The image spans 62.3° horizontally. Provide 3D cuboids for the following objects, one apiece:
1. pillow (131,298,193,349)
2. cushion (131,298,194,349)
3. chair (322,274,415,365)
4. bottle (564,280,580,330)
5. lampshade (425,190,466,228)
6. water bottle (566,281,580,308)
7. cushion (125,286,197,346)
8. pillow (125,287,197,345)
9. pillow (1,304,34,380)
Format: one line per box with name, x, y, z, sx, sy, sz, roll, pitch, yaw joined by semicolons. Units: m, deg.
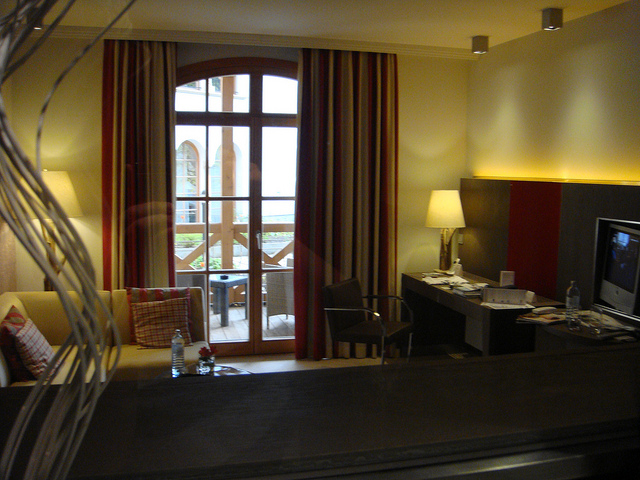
pillow;-0.824;0.429;2.720;0.270;0.227;0.087;-5;-6;-39
cushion;-0.823;0.432;2.721;0.281;0.236;0.091;-4;-1;-38
chair;0.299;0.535;3.147;0.520;0.534;0.533;1;5;7
bottle;1.252;0.315;2.625;0.068;0.179;0.306;0;9;26
lampshade;0.805;-0.210;3.552;0.252;0.249;0.246;-4;4;-12
water bottle;1.307;0.277;2.726;0.058;0.137;0.080;-1;9;25
cushion;-0.831;0.394;2.723;0.331;0.285;0.106;-4;0;-29
pillow;-0.832;0.393;2.723;0.322;0.278;0.104;-3;-3;-29
pillow;-1.192;0.415;2.085;0.066;0.215;0.217;-11;15;-12
